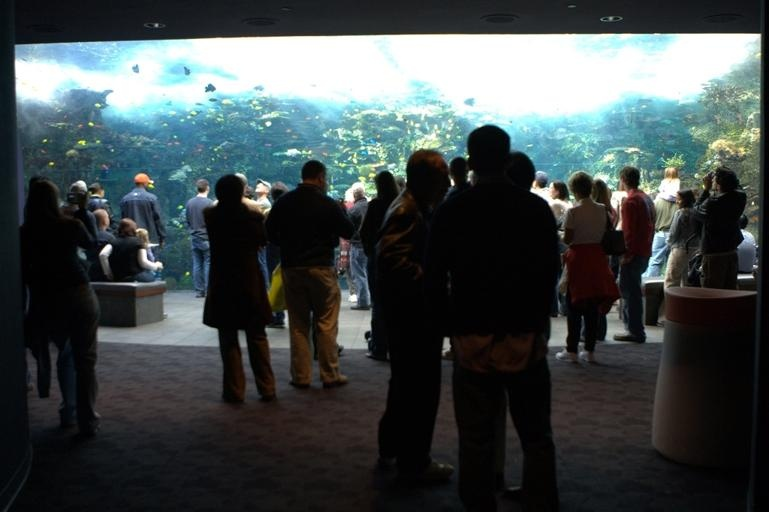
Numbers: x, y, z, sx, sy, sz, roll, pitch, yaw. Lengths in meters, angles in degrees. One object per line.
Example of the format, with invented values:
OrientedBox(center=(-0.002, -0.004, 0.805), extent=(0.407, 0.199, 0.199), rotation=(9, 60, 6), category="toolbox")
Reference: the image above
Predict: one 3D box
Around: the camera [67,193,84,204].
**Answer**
OrientedBox(center=(-2.599, -0.483, 4.561), extent=(0.114, 0.058, 0.107), rotation=(0, 5, -1), category="camera")

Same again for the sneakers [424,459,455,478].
OrientedBox(center=(0.399, 1.528, 3.946), extent=(0.263, 0.101, 0.107), rotation=(-3, 1, -8), category="sneakers")

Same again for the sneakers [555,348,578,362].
OrientedBox(center=(2.186, 1.179, 6.519), extent=(0.111, 0.096, 0.236), rotation=(-1, 4, -21), category="sneakers")

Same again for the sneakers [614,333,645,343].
OrientedBox(center=(3.326, 1.093, 7.397), extent=(0.385, 0.127, 0.134), rotation=(5, 3, 27), category="sneakers")

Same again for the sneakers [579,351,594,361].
OrientedBox(center=(2.425, 1.193, 6.504), extent=(0.083, 0.100, 0.179), rotation=(0, 8, 0), category="sneakers")

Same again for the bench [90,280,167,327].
OrientedBox(center=(-3.932, 0.723, 8.537), extent=(1.277, 0.678, 1.209), rotation=(0, 1, 23), category="bench")
